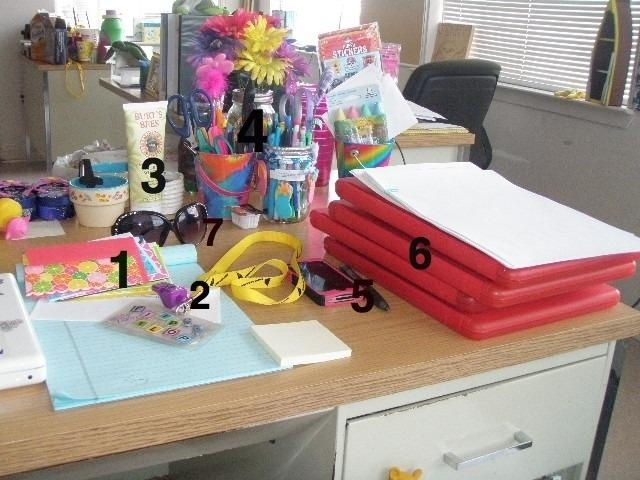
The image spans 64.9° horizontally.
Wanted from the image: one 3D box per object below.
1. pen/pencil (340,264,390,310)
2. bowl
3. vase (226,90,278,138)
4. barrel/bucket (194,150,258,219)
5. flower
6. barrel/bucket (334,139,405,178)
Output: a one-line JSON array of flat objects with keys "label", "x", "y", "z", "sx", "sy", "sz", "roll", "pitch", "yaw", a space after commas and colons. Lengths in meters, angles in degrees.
[{"label": "pen/pencil", "x": 0.073, "y": 0.075, "z": 0.762, "sx": 0.027, "sy": 0.018, "sz": 0.136, "roll": -20, "pitch": 37, "yaw": -27}, {"label": "bowl", "x": -0.408, "y": -0.082, "z": 0.917, "sx": 0.107, "sy": 0.118, "sz": 0.134, "roll": -5, "pitch": 14, "yaw": -30}, {"label": "vase", "x": -0.125, "y": -0.249, "z": 1.027, "sx": 0.093, "sy": 0.095, "sz": 0.123, "roll": -8, "pitch": 26, "yaw": -22}, {"label": "barrel/bucket", "x": -0.189, "y": -0.112, "z": 0.993, "sx": 0.136, "sy": 0.107, "sz": 0.125, "roll": 2, "pitch": 14, "yaw": 0}, {"label": "flower", "x": -0.152, "y": -0.388, "z": 1.056, "sx": 0.250, "sy": 0.175, "sz": 0.228, "roll": -8, "pitch": 25, "yaw": -23}, {"label": "barrel/bucket", "x": 0.089, "y": -0.174, "z": 1.095, "sx": 0.128, "sy": 0.078, "sz": 0.084, "roll": 7, "pitch": 24, "yaw": 11}]
